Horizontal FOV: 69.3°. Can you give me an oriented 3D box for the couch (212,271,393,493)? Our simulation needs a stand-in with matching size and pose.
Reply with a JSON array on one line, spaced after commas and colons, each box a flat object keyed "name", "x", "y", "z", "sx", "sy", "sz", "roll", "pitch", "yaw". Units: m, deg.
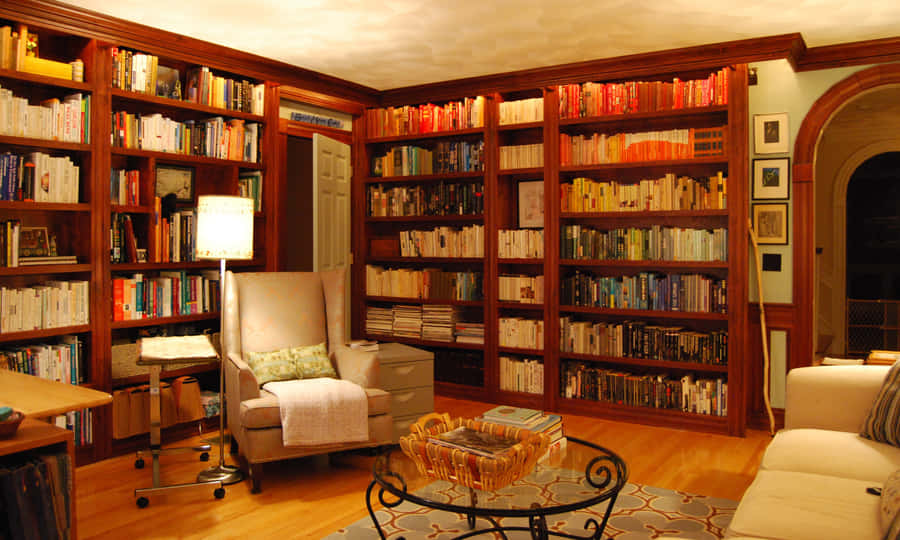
[{"name": "couch", "x": -1.313, "y": 0.770, "z": 5.450, "sx": 1.286, "sy": 1.324, "sz": 1.502, "roll": -2, "pitch": 12, "yaw": -43}]

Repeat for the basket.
[{"name": "basket", "x": 0.148, "y": 1.157, "z": 4.176, "sx": 0.810, "sy": 0.442, "sz": 0.473, "roll": -3, "pitch": 1, "yaw": 30}]

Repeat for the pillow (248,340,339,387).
[{"name": "pillow", "x": -1.352, "y": 0.784, "z": 5.540, "sx": 0.712, "sy": 0.248, "sz": 0.267, "roll": -2, "pitch": 16, "yaw": -34}]
